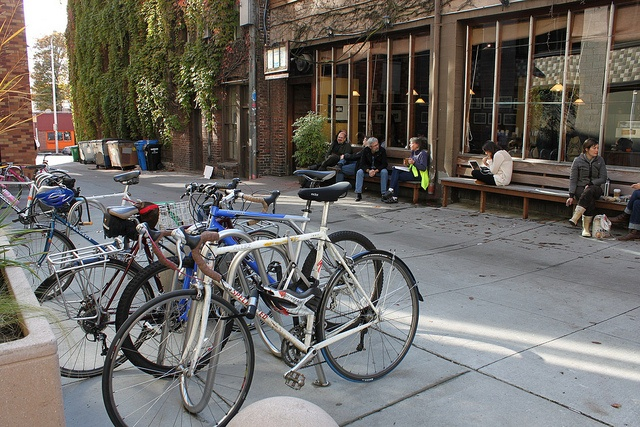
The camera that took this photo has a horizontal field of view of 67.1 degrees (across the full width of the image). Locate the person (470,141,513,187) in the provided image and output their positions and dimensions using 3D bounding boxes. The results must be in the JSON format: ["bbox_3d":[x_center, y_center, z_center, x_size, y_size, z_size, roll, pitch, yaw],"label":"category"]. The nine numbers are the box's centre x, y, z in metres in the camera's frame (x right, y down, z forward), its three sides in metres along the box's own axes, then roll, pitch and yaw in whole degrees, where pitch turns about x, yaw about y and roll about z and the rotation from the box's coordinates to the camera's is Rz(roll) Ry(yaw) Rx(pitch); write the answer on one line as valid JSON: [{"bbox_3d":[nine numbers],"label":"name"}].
[{"bbox_3d":[3.938,-1.162,11.092,0.914,1.001,0.827,0,11,20],"label":"person"}]

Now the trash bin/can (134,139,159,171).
[{"bbox_3d":[-7.530,-2.626,21.575,1.272,1.587,1.246,-1,3,-39],"label":"trash bin/can"}]

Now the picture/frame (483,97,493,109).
[{"bbox_3d":[3.905,-2.623,11.293,0.024,0.334,0.299,-2,4,-36],"label":"picture/frame"}]

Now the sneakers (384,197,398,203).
[{"bbox_3d":[1.755,-0.351,12.085,0.345,0.128,0.121,-1,5,-17],"label":"sneakers"}]

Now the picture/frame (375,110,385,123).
[{"bbox_3d":[1.653,-2.740,13.459,0.043,0.384,0.394,-6,7,-38],"label":"picture/frame"}]

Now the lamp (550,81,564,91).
[{"bbox_3d":[4.994,-2.689,10.223,0.145,0.145,0.153,-6,16,-20],"label":"lamp"}]

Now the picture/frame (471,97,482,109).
[{"bbox_3d":[3.701,-2.666,11.502,0.025,0.223,0.313,-3,3,-38],"label":"picture/frame"}]

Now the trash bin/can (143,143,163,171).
[{"bbox_3d":[-7.263,-2.534,21.182,0.753,1.179,0.548,-9,13,-37],"label":"trash bin/can"}]

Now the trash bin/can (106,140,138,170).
[{"bbox_3d":[-9.122,-2.727,22.389,1.330,1.515,1.534,1,6,-42],"label":"trash bin/can"}]

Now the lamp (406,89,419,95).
[{"bbox_3d":[2.367,-3.155,12.503,0.047,0.171,0.407,-10,13,-39],"label":"lamp"}]

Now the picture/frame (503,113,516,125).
[{"bbox_3d":[4.292,-2.180,10.980,0.013,0.215,0.311,-5,5,-34],"label":"picture/frame"}]

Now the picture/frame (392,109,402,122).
[{"bbox_3d":[2.047,-2.669,12.990,0.381,0.371,0.037,2,4,42],"label":"picture/frame"}]

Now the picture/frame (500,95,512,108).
[{"bbox_3d":[4.207,-2.580,11.020,0.036,0.248,0.304,-11,14,-43],"label":"picture/frame"}]

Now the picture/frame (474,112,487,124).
[{"bbox_3d":[3.773,-2.300,11.439,0.015,0.224,0.303,-6,9,-34],"label":"picture/frame"}]

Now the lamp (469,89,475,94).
[{"bbox_3d":[3.606,-2.932,11.575,0.088,0.181,0.050,-3,3,-19],"label":"lamp"}]

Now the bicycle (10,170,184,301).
[{"bbox_3d":[-2.777,0.026,6.177,2.055,1.218,0.987,-13,-19,5],"label":"bicycle"}]

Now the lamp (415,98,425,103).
[{"bbox_3d":[2.527,-2.900,12.330,0.049,0.151,0.278,-8,12,-31],"label":"lamp"}]

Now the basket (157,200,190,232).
[{"bbox_3d":[-1.532,0.008,5.014,0.491,0.327,0.267,-3,1,-42],"label":"basket"}]

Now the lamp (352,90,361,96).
[{"bbox_3d":[1.024,-3.528,14.072,0.237,0.221,0.155,-18,26,-42],"label":"lamp"}]

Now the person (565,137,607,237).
[{"bbox_3d":[5.023,-0.536,9.143,0.637,1.737,0.930,5,12,30],"label":"person"}]

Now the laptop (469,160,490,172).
[{"bbox_3d":[3.646,-1.085,11.101,0.293,0.281,0.417,-8,8,41],"label":"laptop"}]

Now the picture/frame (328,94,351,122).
[{"bbox_3d":[0.586,-3.255,14.740,0.094,0.909,0.929,-10,14,-38],"label":"picture/frame"}]

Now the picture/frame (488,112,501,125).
[{"bbox_3d":[4.030,-2.240,11.197,0.023,0.282,0.309,-2,4,-25],"label":"picture/frame"}]

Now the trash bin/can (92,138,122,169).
[{"bbox_3d":[-10.528,-2.994,23.683,1.332,1.204,0.926,7,12,42],"label":"trash bin/can"}]

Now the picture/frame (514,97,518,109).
[{"bbox_3d":[4.382,-2.495,10.837,0.141,0.237,0.036,8,14,43],"label":"picture/frame"}]

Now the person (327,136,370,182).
[{"bbox_3d":[0.572,-1.395,13.400,0.686,1.733,0.983,-5,5,31],"label":"person"}]
